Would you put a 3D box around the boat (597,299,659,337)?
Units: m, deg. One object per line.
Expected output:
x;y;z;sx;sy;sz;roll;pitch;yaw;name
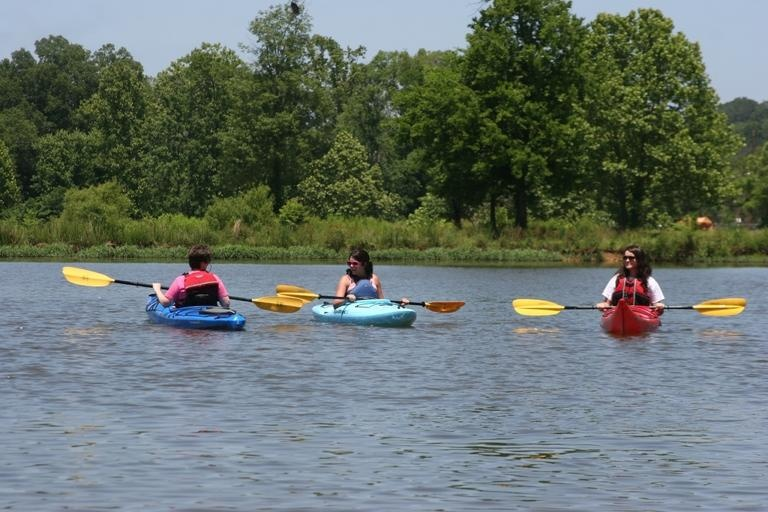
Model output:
8.364;2.203;48.049;1.863;1.218;0.844;2;5;9;boat

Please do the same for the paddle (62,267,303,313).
-7.331;1.337;49.665;8.823;0.473;1.156;8;1;-1;paddle

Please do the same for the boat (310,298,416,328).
-0.789;2.064;48.567;3.861;0.935;1.415;0;-4;5;boat
